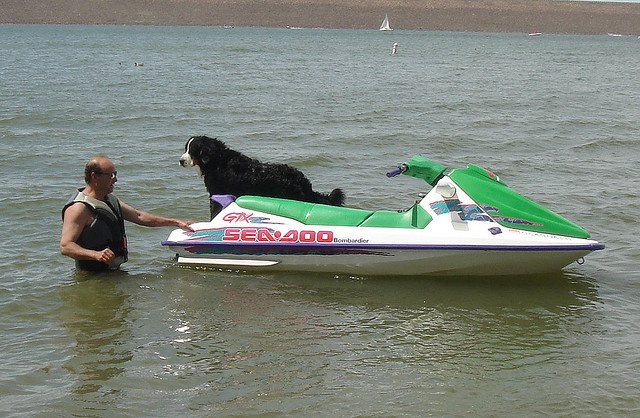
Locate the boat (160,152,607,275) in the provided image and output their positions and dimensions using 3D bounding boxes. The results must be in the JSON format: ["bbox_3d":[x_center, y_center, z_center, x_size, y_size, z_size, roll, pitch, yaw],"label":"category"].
[{"bbox_3d":[0.175,0.309,17.516,10.756,1.451,2.295,0,4,4],"label":"boat"}]
